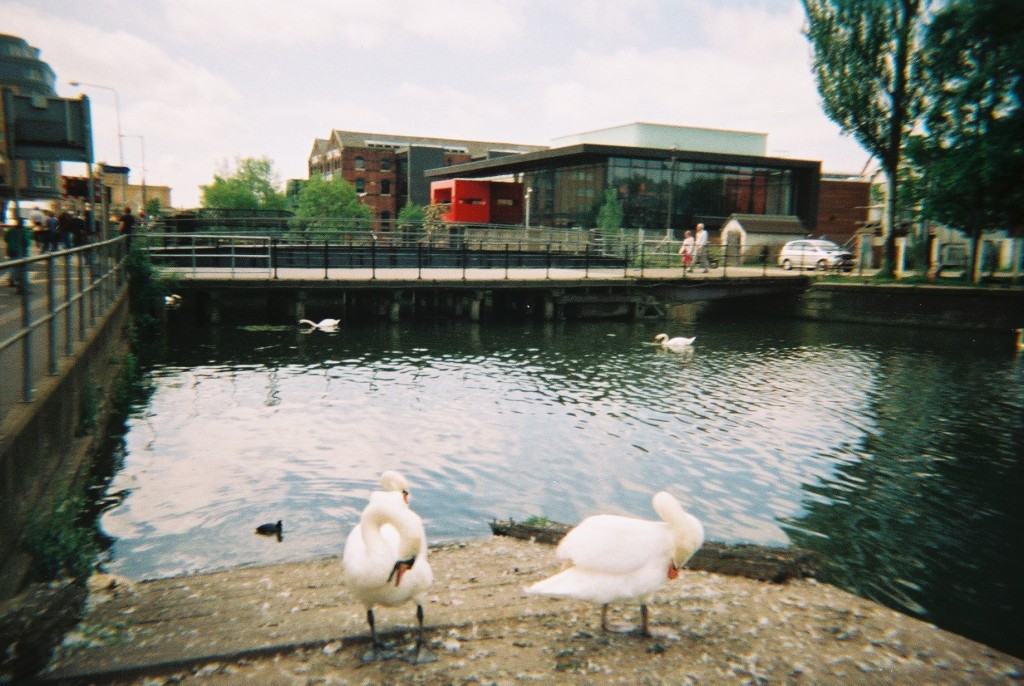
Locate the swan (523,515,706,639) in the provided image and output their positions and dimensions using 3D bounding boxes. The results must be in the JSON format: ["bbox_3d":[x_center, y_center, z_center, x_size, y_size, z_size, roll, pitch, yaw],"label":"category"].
[{"bbox_3d":[1.083,2.415,8.460,2.286,1.374,1.067,1,-19,-16],"label":"swan"}]

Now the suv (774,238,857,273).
[{"bbox_3d":[15.828,-4.511,40.250,2.101,1.374,3.361,-3,3,-33],"label":"suv"}]

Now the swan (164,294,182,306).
[{"bbox_3d":[-12.202,-1.565,27.872,0.410,0.386,0.487,3,-36,-1],"label":"swan"}]

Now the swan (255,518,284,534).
[{"bbox_3d":[-3.513,2.636,11.262,0.378,0.143,0.386,-1,14,-14],"label":"swan"}]
